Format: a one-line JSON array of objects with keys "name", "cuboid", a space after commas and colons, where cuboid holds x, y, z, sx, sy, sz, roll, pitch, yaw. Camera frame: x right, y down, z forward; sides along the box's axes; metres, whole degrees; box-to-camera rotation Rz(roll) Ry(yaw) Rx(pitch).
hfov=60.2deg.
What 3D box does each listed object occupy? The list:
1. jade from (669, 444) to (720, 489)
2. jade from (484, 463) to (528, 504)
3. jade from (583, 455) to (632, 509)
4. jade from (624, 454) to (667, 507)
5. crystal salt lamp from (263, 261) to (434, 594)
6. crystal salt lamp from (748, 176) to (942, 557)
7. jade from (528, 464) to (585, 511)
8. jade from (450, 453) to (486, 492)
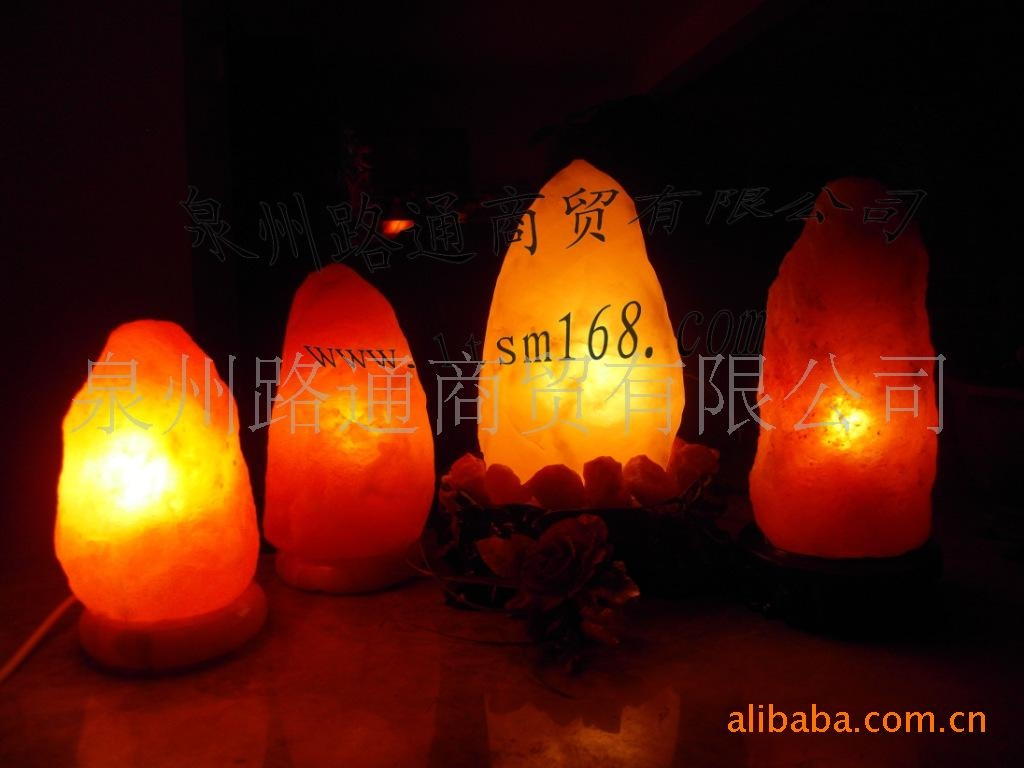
[{"name": "jade", "cuboid": [0.205, 0.092, 0.997, 0.048, 0.015, 0.049, 1, 47, 19]}, {"name": "jade", "cuboid": [-0.008, 0.112, 0.963, 0.044, 0.016, 0.036, 32, 38, 15]}, {"name": "jade", "cuboid": [0.101, 0.105, 0.968, 0.040, 0.063, 0.032, -2, 15, 16]}, {"name": "jade", "cuboid": [0.149, 0.106, 0.966, 0.049, 0.050, 0.016, 39, -30, 3]}, {"name": "crystal salt lamp", "cuboid": [-0.200, 0.045, 1.073, 0.221, 0.365, 0.214, 1, 6, -2]}, {"name": "crystal salt lamp", "cuboid": [0.361, -0.018, 0.941, 0.189, 0.402, 0.076, 4, 5, 16]}, {"name": "jade", "cuboid": [0.047, 0.111, 0.956, 0.062, 0.046, 0.024, 2, 5, 2]}, {"name": "jade", "cuboid": [-0.050, 0.106, 1.000, 0.040, 0.030, 0.014, 0, -16, 39]}]
